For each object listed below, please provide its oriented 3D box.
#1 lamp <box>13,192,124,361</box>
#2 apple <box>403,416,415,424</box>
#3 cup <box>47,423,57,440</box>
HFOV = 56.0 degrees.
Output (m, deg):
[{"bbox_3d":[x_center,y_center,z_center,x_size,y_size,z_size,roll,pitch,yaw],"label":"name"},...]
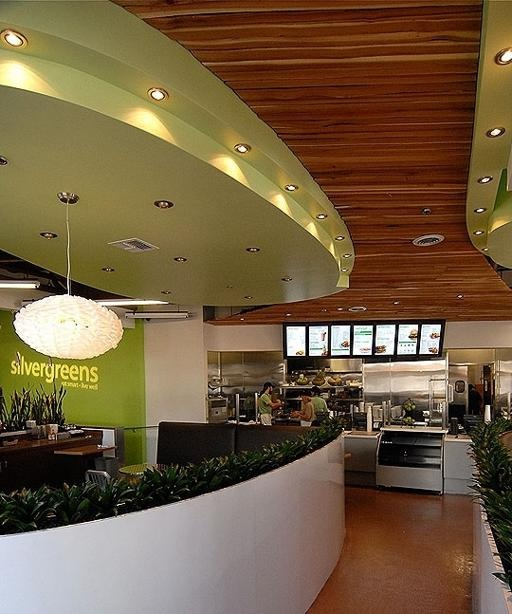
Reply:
[{"bbox_3d":[-1.504,-0.342,3.839,0.673,1.447,0.718,-26,-29,28],"label":"lamp"},{"bbox_3d":[2.547,1.889,8.055,0.214,0.100,0.224,1,0,16],"label":"apple"},{"bbox_3d":[-3.074,1.879,7.244,0.162,0.209,0.261,0,-10,-21],"label":"cup"}]
